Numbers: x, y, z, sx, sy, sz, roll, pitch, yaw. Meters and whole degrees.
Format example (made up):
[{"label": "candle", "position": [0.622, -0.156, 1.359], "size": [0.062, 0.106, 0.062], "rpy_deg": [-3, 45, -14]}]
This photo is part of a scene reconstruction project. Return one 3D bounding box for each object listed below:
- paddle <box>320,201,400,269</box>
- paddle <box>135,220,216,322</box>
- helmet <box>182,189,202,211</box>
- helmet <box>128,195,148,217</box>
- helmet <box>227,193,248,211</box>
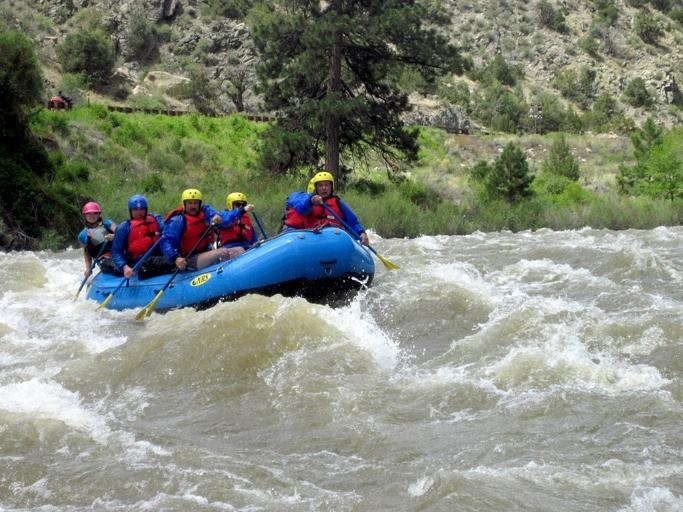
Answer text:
[{"label": "paddle", "position": [0.478, -0.468, 28.100], "size": [0.397, 2.208, 0.149], "rpy_deg": [-46, 6, -38]}, {"label": "paddle", "position": [-3.924, 0.409, 26.080], "size": [0.357, 2.746, 0.268], "rpy_deg": [38, -1, 15]}, {"label": "helmet", "position": [-3.624, -1.328, 26.499], "size": [0.367, 0.479, 0.492], "rpy_deg": [1, -8, -14]}, {"label": "helmet", "position": [-4.958, -1.189, 26.812], "size": [0.391, 0.549, 0.530], "rpy_deg": [-2, 5, -18]}, {"label": "helmet", "position": [-2.538, -1.299, 26.707], "size": [0.356, 0.462, 0.451], "rpy_deg": [0, -2, -41]}]
